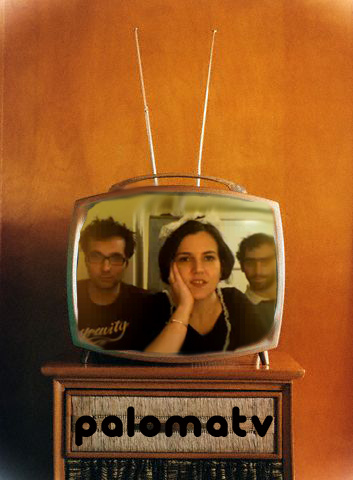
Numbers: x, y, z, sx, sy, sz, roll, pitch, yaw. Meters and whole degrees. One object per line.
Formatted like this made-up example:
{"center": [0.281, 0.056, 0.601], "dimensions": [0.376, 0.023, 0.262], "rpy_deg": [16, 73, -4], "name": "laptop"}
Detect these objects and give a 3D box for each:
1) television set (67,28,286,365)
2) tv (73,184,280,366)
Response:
{"center": [-0.003, 0.076, 2.030], "dimensions": [0.514, 0.395, 0.200], "rpy_deg": [0, 23, 6], "name": "television set"}
{"center": [0.008, 0.080, 2.232], "dimensions": [0.713, 0.599, 0.388], "rpy_deg": [0, -2, -2], "name": "tv"}
